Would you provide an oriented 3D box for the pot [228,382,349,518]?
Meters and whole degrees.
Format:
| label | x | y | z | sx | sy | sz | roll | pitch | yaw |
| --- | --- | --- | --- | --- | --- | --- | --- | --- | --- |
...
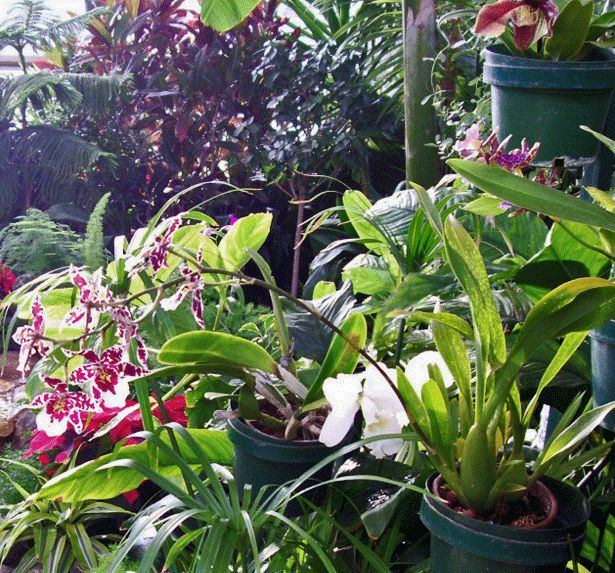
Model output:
| label | x | y | z | sx | sy | sz | roll | pitch | yaw |
| --- | --- | --- | --- | --- | --- | --- | --- | --- | --- |
| pot | -0.015 | 0.277 | 0.871 | 0.149 | 0.137 | 0.166 | 4 | -6 | -3 |
